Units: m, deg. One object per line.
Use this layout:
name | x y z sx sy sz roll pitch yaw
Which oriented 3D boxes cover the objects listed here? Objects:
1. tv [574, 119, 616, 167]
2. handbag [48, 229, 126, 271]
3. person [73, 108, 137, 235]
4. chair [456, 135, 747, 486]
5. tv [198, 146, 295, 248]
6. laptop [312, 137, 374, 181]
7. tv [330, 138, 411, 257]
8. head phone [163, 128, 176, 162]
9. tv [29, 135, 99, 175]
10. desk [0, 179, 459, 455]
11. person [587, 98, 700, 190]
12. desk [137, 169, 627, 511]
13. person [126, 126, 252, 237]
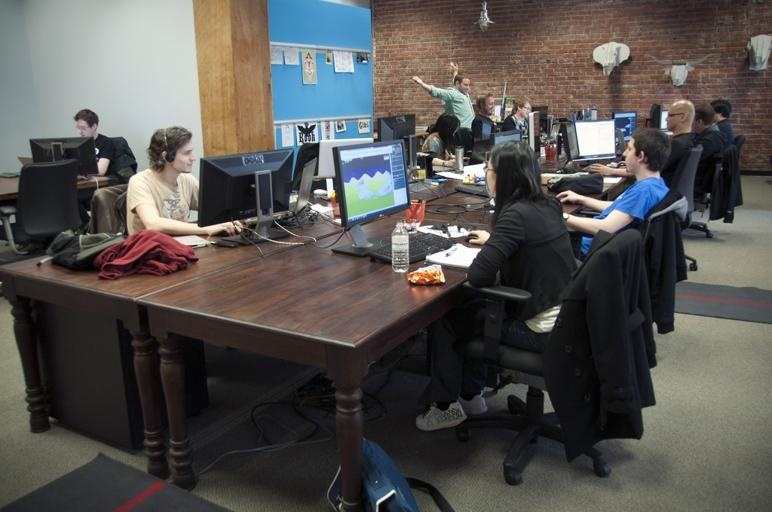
tv | 2.409 -1.342 6.174 0.595 0.454 0.054 -7 9 -20
handbag | -1.716 -0.052 3.110 0.285 0.126 0.288 16 21 30
person | -3.186 -0.855 5.951 0.696 1.431 0.544 4 12 -28
chair | 1.377 0.112 4.199 1.870 3.180 1.809 12 18 38
tv | -0.868 -0.398 3.536 0.245 0.558 0.763 13 20 34
laptop | -0.294 -0.649 3.609 0.448 0.299 0.213 -14 40 -37
tv | -0.129 -0.380 3.369 0.241 0.679 0.694 10 17 33
head phone | -1.419 -0.741 3.524 0.078 0.234 0.177 -8 11 -16
tv | -3.212 -1.013 5.388 0.547 0.357 0.169 -1 19 -1
desk | -0.704 0.285 2.682 1.510 0.601 1.552 7 16 28
person | 2.558 -0.924 5.484 1.004 1.299 0.805 10 6 31
desk | -0.400 0.188 2.777 1.163 0.868 1.566 7 16 25
person | -1.373 -0.463 3.664 0.874 0.768 0.595 3 8 13
